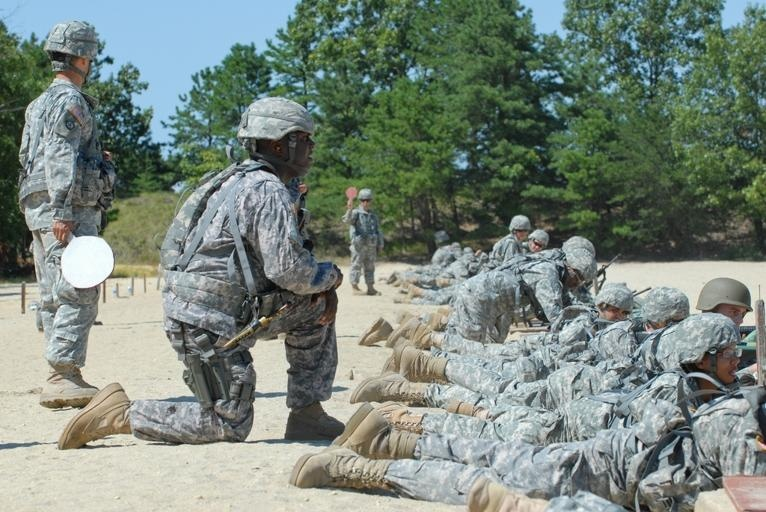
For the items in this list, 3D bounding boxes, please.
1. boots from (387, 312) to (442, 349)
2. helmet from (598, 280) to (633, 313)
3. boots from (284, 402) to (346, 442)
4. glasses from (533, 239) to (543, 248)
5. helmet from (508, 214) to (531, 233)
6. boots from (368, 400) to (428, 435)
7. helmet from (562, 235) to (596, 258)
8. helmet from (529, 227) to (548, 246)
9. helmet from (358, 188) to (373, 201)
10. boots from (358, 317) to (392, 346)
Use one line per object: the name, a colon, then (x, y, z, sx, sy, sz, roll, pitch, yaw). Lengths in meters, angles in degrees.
boots: (0.503, 1.482, 27.414, 0.511, 0.629, 1.468, -12, 14, -35)
helmet: (4.533, 0.808, 25.484, 0.584, 0.432, 0.573, 8, -7, -40)
boots: (-1.357, 3.131, 24.227, 1.218, 0.704, 0.562, -1, 0, -6)
glasses: (3.513, -0.275, 29.421, 0.248, 0.151, 0.084, 0, -1, 43)
helmet: (3.243, -0.788, 30.875, 0.565, 0.507, 0.434, 5, -2, 1)
boots: (0.268, 2.964, 24.048, 0.836, 0.269, 0.540, 14, 24, 20)
helmet: (4.073, -0.202, 26.900, 0.440, 0.311, 0.558, 10, 2, 13)
helmet: (3.519, -0.431, 29.616, 0.416, 0.333, 0.314, 9, -7, 26)
helmet: (-0.514, -1.689, 36.054, 0.414, 0.386, 0.388, -2, 5, -7)
boots: (-0.220, 1.720, 28.532, 0.723, 0.353, 0.534, -35, 10, 8)
